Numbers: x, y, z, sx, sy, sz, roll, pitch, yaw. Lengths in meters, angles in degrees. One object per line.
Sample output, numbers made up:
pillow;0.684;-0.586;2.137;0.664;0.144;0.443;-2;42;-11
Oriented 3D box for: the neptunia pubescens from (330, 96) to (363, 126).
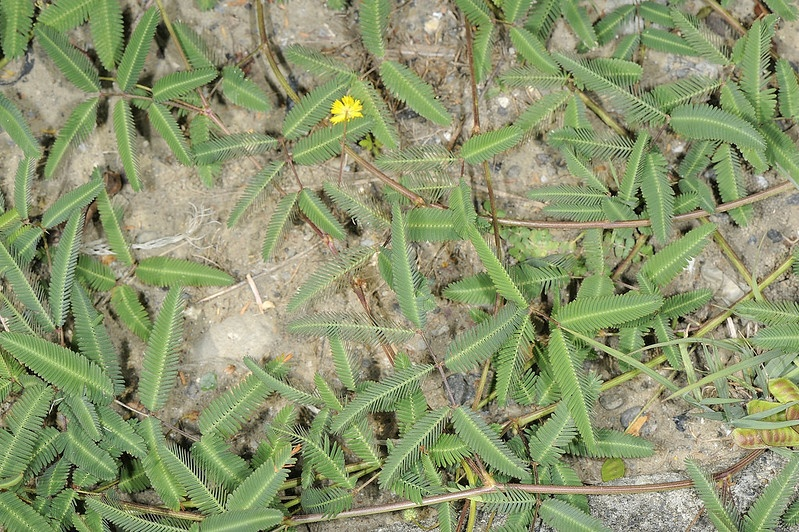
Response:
neptunia pubescens;-0.351;-1.020;5.533;0.155;0.076;0.207;2;94;7
